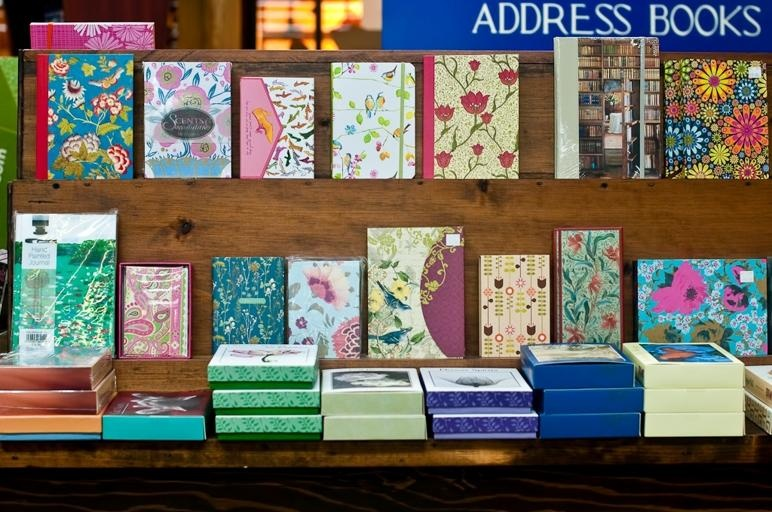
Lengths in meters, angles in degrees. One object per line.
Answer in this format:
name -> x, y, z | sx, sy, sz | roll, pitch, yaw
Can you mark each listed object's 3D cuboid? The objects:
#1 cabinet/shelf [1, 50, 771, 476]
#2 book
cabinet/shelf -> 0.043, 0.447, 5.658 | 4.932, 1.402, 2.313 | -2, -12, -1
book -> 0.925, -0.584, 3.836 | 0.323, 0.532, 0.203 | 2, 17, 9
